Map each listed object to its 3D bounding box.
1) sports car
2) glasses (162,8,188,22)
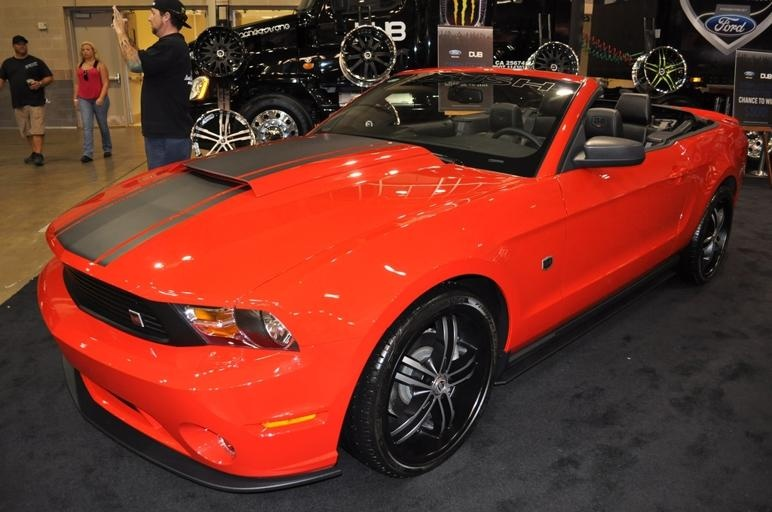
[{"bbox_3d":[0.658,-0.111,3.308,4.825,1.408,2.270,-14,21,-38],"label":"sports car"},{"bbox_3d":[-2.102,-2.441,4.593,0.115,0.063,0.157,27,19,19],"label":"glasses"}]
